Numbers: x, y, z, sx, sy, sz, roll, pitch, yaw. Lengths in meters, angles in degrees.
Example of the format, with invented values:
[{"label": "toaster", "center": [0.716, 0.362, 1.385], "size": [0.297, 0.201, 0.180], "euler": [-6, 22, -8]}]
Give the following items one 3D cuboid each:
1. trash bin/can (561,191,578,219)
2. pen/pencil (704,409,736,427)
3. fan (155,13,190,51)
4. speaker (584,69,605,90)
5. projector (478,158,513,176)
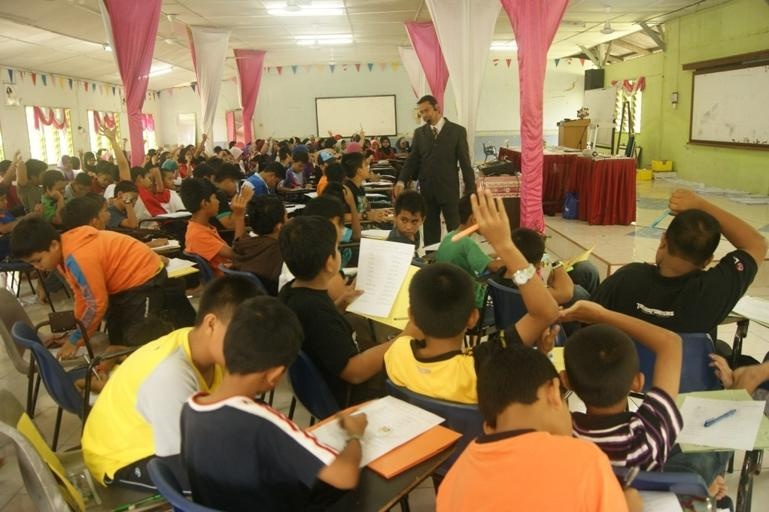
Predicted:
[{"label": "trash bin/can", "center": [2.617, -0.730, 8.082], "size": [0.214, 0.406, 0.369], "euler": [-3, 12, -1]}, {"label": "pen/pencil", "center": [1.303, 0.642, 2.213], "size": [0.150, 0.025, 0.016], "euler": [-18, 5, -32]}, {"label": "fan", "center": [-4.220, -4.531, 11.247], "size": [0.739, 0.208, 0.747], "euler": [-7, -2, -12]}, {"label": "speaker", "center": [5.785, -5.021, 15.822], "size": [0.284, 0.515, 0.573], "euler": [-8, 14, -26]}, {"label": "projector", "center": [1.558, -1.256, 8.006], "size": [0.408, 0.162, 0.306], "euler": [-4, 12, 27]}]
